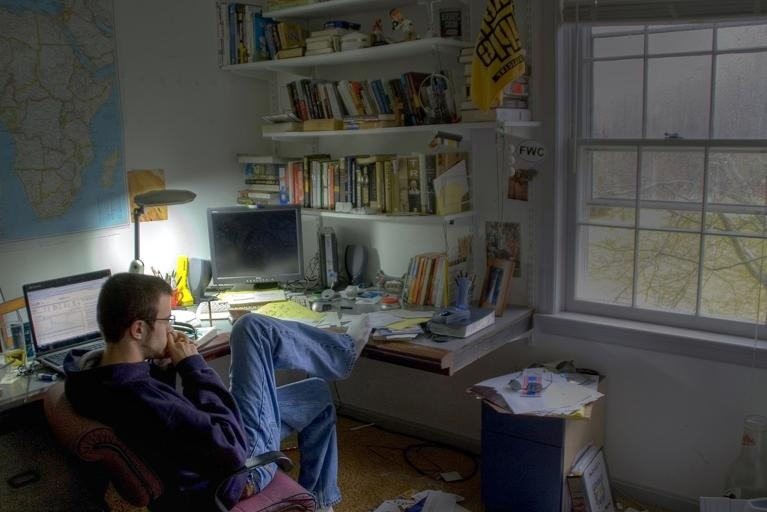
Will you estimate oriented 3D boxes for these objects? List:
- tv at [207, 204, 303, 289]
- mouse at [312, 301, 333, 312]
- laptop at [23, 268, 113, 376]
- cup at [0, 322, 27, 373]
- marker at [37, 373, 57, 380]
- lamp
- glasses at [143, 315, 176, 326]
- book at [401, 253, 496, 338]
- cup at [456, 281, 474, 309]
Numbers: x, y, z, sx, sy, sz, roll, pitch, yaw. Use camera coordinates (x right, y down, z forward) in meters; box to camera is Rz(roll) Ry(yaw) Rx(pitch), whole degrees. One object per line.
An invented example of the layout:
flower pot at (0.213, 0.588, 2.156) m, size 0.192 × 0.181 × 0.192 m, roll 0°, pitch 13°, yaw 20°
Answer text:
tv at (-0.851, -0.073, 3.710) m, size 0.607 × 0.491 × 0.062 m, roll -1°, pitch 1°, yaw -11°
mouse at (-0.375, 0.304, 3.419) m, size 0.095 × 0.032 × 0.067 m, roll 1°, pitch 1°, yaw -1°
laptop at (-1.572, 0.344, 3.135) m, size 0.606 × 0.381 × 0.539 m, roll -14°, pitch -13°, yaw 34°
cup at (-1.906, 0.460, 2.888) m, size 0.119 × 0.211 × 0.247 m, roll -7°, pitch 9°, yaw -30°
marker at (-1.649, 0.588, 2.765) m, size 0.070 × 0.020 × 0.038 m, roll 1°, pitch 6°, yaw 9°
lamp at (-1.346, -0.123, 3.454) m, size 0.425 × 0.553 × 0.322 m, roll -1°, pitch 3°, yaw -15°
glasses at (-0.921, 0.267, 2.312) m, size 0.033 × 0.054 × 0.127 m, roll 2°, pitch 9°, yaw 28°
book at (0.308, 0.221, 3.170) m, size 0.368 × 0.188 × 0.516 m, roll 2°, pitch 7°, yaw 28°
cup at (0.450, 0.190, 3.191) m, size 0.089 × 0.197 × 0.082 m, roll 1°, pitch 23°, yaw 0°
